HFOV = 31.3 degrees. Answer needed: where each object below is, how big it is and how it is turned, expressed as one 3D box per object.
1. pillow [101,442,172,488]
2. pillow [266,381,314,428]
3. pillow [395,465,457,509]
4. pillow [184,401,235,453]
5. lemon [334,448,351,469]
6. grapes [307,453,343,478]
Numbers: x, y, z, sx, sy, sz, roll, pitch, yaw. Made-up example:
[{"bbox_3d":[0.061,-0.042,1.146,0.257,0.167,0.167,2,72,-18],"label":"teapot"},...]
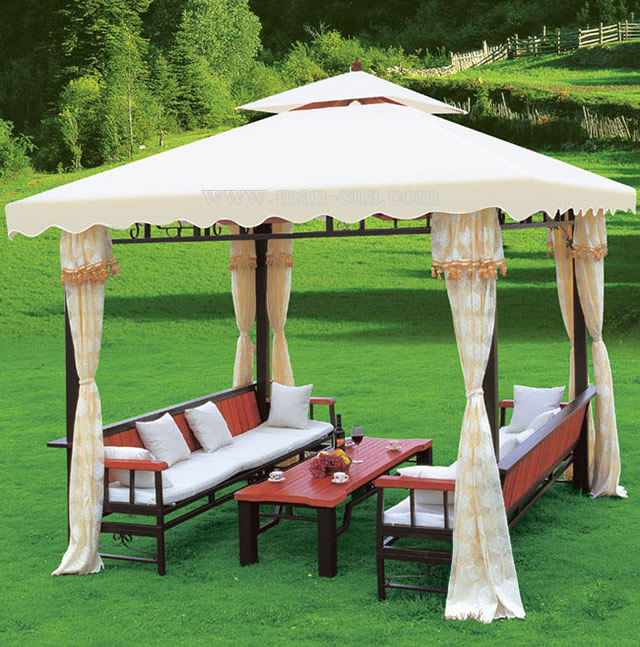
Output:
[{"bbox_3d":[-1.460,1.137,9.078,0.574,0.325,0.442,0,-8,19],"label":"pillow"},{"bbox_3d":[-0.309,0.809,11.325,0.364,0.384,0.138,3,-18,15],"label":"pillow"},{"bbox_3d":[0.850,1.191,8.547,0.336,0.163,0.330,0,-2,-32],"label":"pillow"},{"bbox_3d":[-0.996,0.945,10.503,0.258,0.454,0.523,-12,1,25],"label":"pillow"},{"bbox_3d":[0.190,1.121,9.487,0.090,0.107,0.190,-19,23,11],"label":"lemon"},{"bbox_3d":[0.060,1.156,9.337,0.185,0.124,0.193,-5,1,-4],"label":"grapes"}]
